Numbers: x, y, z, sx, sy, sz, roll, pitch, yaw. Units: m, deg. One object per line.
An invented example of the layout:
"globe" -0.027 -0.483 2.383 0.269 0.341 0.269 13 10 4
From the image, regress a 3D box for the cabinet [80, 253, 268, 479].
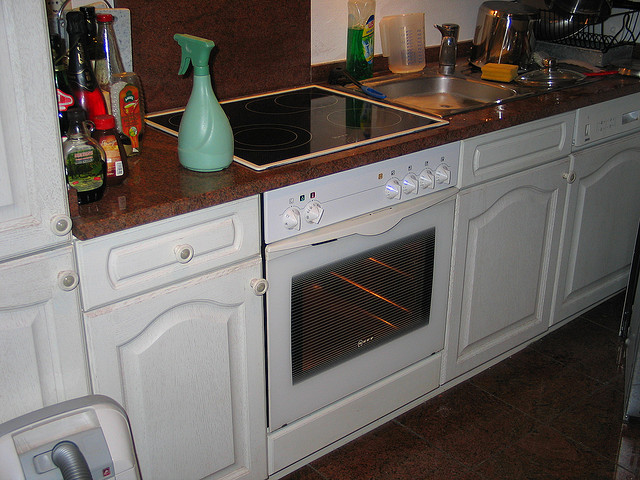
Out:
"cabinet" -0.445 0.356 1.550 0.458 0.670 0.467 -15 32 -34

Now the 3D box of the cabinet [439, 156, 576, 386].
"cabinet" 0.636 0.060 2.264 0.661 0.886 0.573 -16 26 -29

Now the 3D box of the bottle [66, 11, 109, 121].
"bottle" -0.631 -0.481 1.402 0.121 0.280 0.107 -19 37 -36

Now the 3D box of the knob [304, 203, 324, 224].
"knob" -0.018 -0.076 1.453 0.063 0.062 0.019 -23 36 -31

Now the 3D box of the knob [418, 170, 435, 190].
"knob" 0.356 -0.198 1.665 0.048 0.065 0.026 -4 6 -20

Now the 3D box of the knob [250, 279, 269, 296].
"knob" -0.173 0.130 1.404 0.039 0.038 0.021 16 12 -45

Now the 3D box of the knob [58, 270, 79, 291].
"knob" -0.579 0.091 1.150 0.042 0.045 0.019 -17 34 -24

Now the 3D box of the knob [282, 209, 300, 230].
"knob" -0.080 -0.055 1.417 0.055 0.060 0.017 -22 36 -30

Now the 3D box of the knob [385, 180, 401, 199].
"knob" 0.233 -0.159 1.597 0.045 0.059 0.021 6 9 -25

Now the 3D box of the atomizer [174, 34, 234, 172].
"atomizer" -0.319 -0.372 1.363 0.179 0.348 0.153 9 27 11

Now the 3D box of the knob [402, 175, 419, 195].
"knob" 0.298 -0.181 1.636 0.047 0.064 0.015 -4 13 -18

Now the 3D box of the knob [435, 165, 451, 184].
"knob" 0.417 -0.221 1.702 0.057 0.055 0.057 4 3 -43

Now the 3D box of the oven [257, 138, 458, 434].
"oven" -0.017 0.134 1.913 0.803 1.029 0.704 -15 26 -29

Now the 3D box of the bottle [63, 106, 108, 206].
"bottle" -0.571 -0.196 1.192 0.076 0.209 0.103 23 39 36

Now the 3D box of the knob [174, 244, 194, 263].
"knob" -0.344 0.035 1.263 0.046 0.043 0.020 -20 26 -34

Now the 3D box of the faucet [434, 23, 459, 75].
"faucet" 0.579 -0.885 2.302 0.102 0.198 0.239 5 31 12

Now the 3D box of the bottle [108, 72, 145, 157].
"bottle" -0.571 -0.370 1.446 0.097 0.237 0.104 6 37 -4

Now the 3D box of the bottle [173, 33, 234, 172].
"bottle" -0.313 -0.371 1.367 0.171 0.352 0.156 1 25 0
